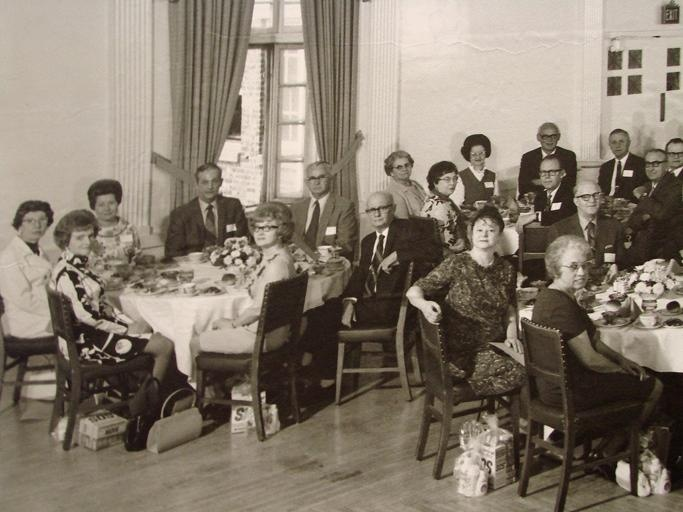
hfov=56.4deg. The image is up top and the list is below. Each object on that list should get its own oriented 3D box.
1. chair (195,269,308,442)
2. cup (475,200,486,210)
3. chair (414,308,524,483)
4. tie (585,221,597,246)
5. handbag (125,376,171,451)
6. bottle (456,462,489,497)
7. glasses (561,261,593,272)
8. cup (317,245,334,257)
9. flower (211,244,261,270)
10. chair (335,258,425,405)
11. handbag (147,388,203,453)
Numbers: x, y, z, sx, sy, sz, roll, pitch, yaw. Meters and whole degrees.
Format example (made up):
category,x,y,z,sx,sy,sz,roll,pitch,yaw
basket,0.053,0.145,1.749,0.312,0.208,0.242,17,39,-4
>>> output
category,x,y,z,sx,sy,sz,roll,pitch,yaw
chair,-0.632,0.634,3.993,0.557,0.847,0.530,-2,-2,16
cup,1.298,-0.481,5.905,0.145,0.073,0.187,-1,4,5
chair,0.690,0.718,3.539,0.501,0.835,0.464,0,-3,-13
tie,1.747,-0.150,4.428,0.092,0.184,0.021,-5,7,-13
handbag,-1.181,0.948,3.856,0.149,0.454,0.159,28,-34,-20
bottle,0.672,1.137,3.264,0.146,0.152,0.158,0,-3,-7
glasses,1.163,0.047,3.097,0.174,0.048,0.043,-6,7,-20
cup,-0.127,-0.045,4.970,0.092,0.062,0.077,1,7,1
flower,-0.752,0.009,4.594,0.219,0.118,0.241,-1,4,-45
chair,0.289,0.531,4.592,0.661,0.936,0.653,-2,-1,34
handbag,-0.995,0.995,3.804,0.102,0.254,0.300,8,15,36
